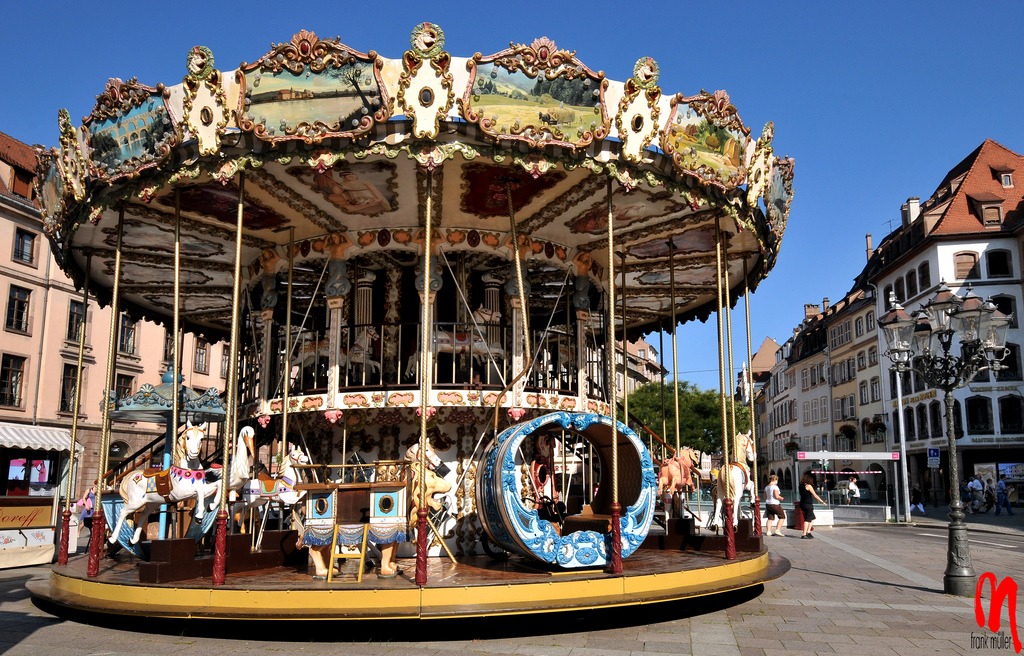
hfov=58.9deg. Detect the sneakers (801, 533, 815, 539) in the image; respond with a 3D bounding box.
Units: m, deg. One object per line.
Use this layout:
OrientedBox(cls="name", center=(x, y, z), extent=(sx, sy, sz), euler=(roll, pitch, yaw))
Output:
OrientedBox(cls="sneakers", center=(10.508, 7.373, 32.128), extent=(0.373, 0.134, 0.256), euler=(-4, 30, 2))
